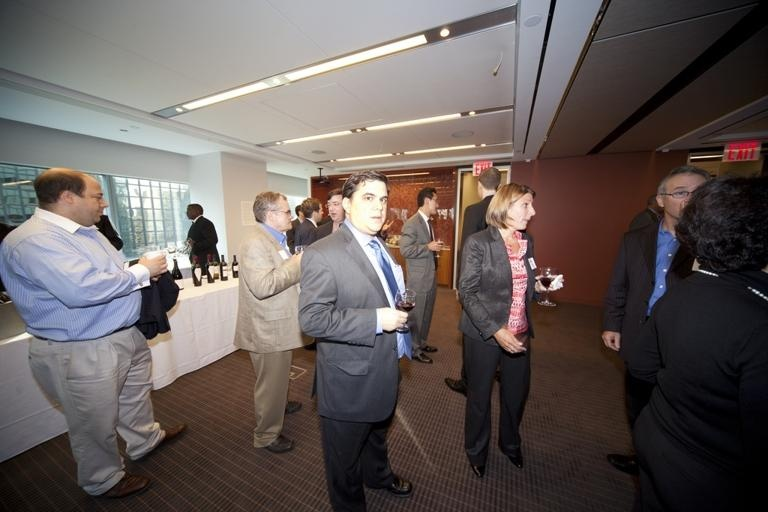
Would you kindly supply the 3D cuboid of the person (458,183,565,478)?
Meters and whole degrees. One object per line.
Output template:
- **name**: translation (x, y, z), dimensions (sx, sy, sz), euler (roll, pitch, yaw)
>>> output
- **person**: translation (1.067, 0.687, 3.972), dimensions (0.663, 2.722, 0.655), euler (4, 10, 21)

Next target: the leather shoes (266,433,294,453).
- **leather shoes**: translation (-1.029, 1.868, 4.176), dimensions (0.259, 0.110, 0.136), euler (-4, -2, 9)

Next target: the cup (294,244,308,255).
- **cup**: translation (-0.876, -0.073, 4.434), dimensions (0.203, 0.080, 0.157), euler (1, 7, 20)

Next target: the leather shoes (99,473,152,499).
- **leather shoes**: translation (-2.335, 2.101, 3.852), dimensions (0.428, 0.194, 0.167), euler (0, -5, -7)

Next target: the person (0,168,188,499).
- **person**: translation (-2.673, 0.702, 3.828), dimensions (1.132, 2.951, 0.597), euler (1, 9, -1)

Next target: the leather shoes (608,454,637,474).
- **leather shoes**: translation (2.302, 1.984, 4.020), dimensions (0.169, 0.131, 0.166), euler (9, -9, -40)

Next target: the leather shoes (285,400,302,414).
- **leather shoes**: translation (-0.988, 1.640, 4.495), dimensions (0.131, 0.082, 0.224), euler (1, -7, 3)

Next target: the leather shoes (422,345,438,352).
- **leather shoes**: translation (0.610, 1.212, 5.548), dimensions (0.226, 0.095, 0.078), euler (-3, 2, -8)

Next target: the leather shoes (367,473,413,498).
- **leather shoes**: translation (0.084, 2.076, 3.874), dimensions (0.448, 0.205, 0.186), euler (-2, 0, 8)

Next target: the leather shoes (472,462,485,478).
- **leather shoes**: translation (0.875, 1.997, 3.894), dimensions (0.091, 0.097, 0.157), euler (-3, -34, 13)

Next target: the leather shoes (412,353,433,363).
- **leather shoes**: translation (0.493, 1.272, 5.296), dimensions (0.268, 0.115, 0.109), euler (-1, 1, 30)
